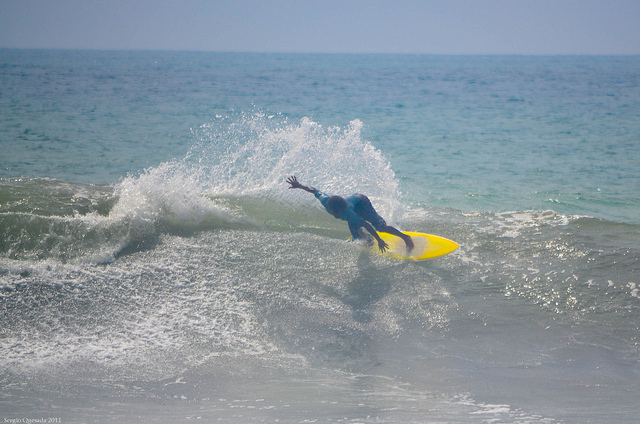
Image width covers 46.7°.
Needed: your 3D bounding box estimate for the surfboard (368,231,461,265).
[{"bbox_3d":[2.422,1.075,20.332,3.073,0.365,0.774,8,52,11],"label":"surfboard"}]
